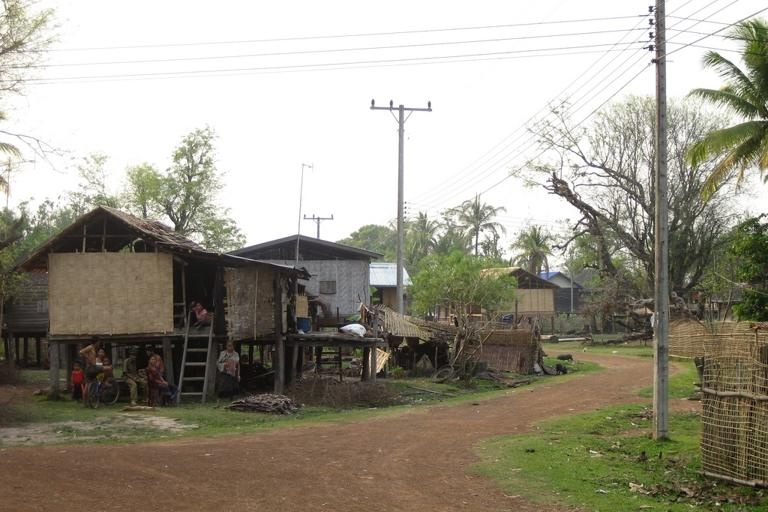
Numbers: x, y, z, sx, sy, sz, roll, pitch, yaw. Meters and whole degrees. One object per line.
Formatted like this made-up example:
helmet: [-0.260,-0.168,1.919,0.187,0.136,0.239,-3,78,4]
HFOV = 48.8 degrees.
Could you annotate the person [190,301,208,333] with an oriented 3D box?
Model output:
person: [-7.292,2.429,33.629,0.638,1.137,1.111,3,-11,-14]

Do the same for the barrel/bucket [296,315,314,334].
barrel/bucket: [-3.489,3.031,37.202,0.677,0.489,0.612,4,-11,-15]

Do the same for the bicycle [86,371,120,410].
bicycle: [-10.247,5.028,31.783,0.880,1.265,1.280,-2,-5,16]
